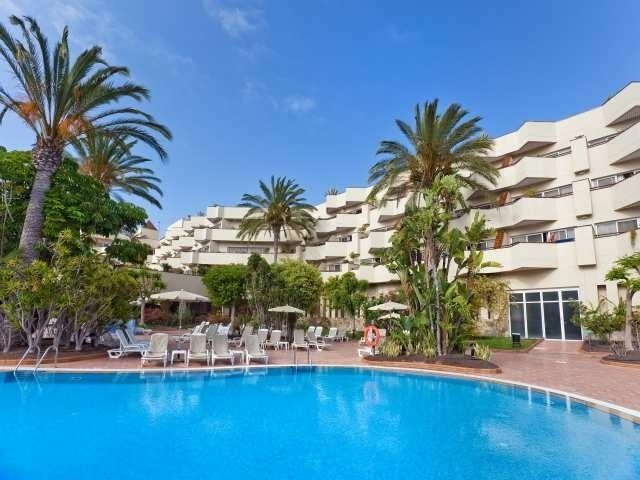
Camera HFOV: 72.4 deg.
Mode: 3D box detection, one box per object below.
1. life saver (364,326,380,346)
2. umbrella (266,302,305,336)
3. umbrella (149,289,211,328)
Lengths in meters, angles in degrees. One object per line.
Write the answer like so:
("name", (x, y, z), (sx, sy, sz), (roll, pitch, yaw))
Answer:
("life saver", (2.335, 4.362, 19.743), (0.566, 1.026, 0.979), (0, 0, 12))
("umbrella", (-2.006, 5.106, 27.143), (2.138, 1.973, 2.189), (2, -2, -7))
("umbrella", (-13.085, 6.326, 40.028), (4.058, 2.855, 4.117), (0, -11, 0))
